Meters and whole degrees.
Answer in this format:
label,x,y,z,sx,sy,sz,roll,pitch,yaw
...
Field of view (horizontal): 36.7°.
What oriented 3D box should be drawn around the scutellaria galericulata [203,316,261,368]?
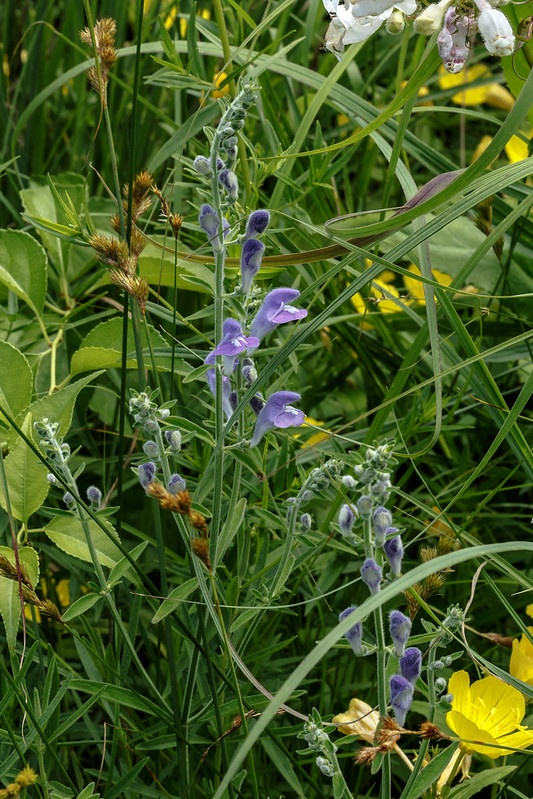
label,x,y,z,sx,sy,sz,roll,pitch,yaw
scutellaria galericulata,-0.024,-0.048,0.668,0.057,0.063,0.028,8,91,26
